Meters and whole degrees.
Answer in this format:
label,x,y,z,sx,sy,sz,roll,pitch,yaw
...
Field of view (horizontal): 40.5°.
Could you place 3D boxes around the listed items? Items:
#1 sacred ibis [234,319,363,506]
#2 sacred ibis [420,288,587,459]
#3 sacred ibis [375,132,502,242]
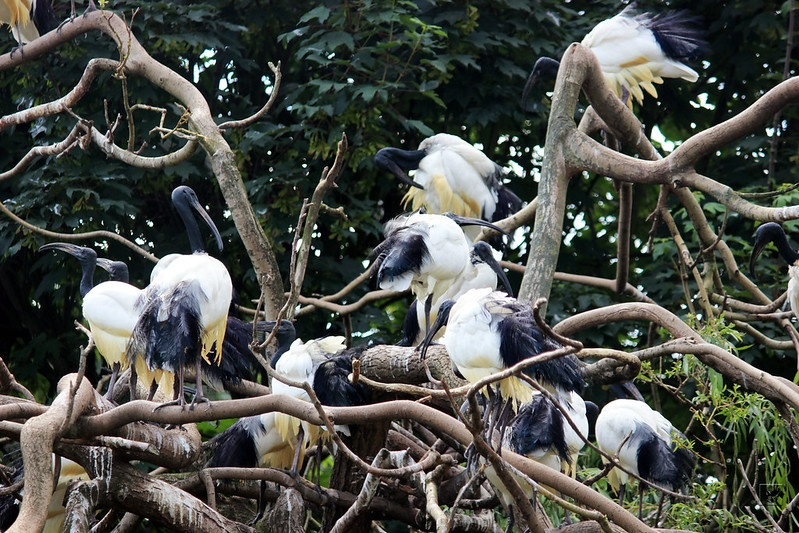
label,x,y,z,sx,sy,sz,roll,pitch,yaw
sacred ibis,-0.928,1.231,9.114,0.908,1.583,1.001,4,9,-32
sacred ibis,0.802,0.708,7.696,1.439,1.280,0.700,10,7,38
sacred ibis,0.456,-0.859,11.172,1.394,1.150,0.777,11,-8,2
